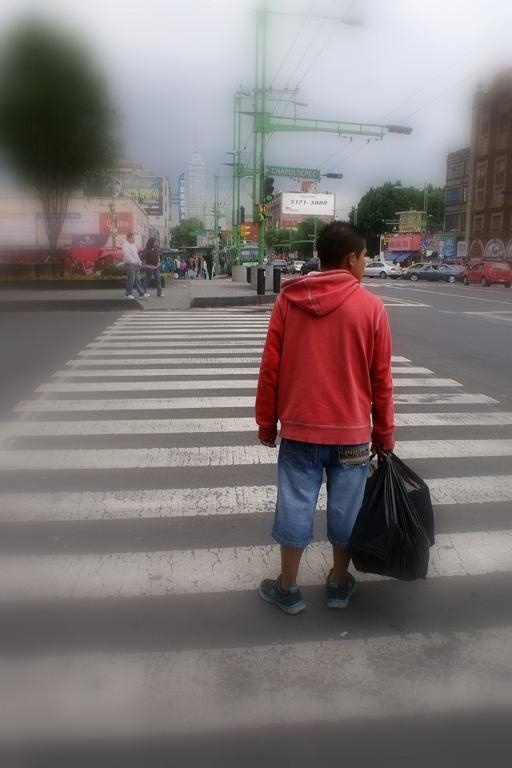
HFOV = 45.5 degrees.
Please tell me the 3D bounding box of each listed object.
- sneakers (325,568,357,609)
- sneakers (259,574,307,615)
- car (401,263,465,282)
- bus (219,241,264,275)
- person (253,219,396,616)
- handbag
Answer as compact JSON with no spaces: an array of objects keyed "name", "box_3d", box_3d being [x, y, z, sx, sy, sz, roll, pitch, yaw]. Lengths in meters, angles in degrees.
[{"name":"sneakers","box_3d":[0.350,0.856,2.567,0.067,0.086,0.190,-1,13,10]},{"name":"sneakers","box_3d":[0.108,0.845,2.562,0.087,0.118,0.237,-4,15,-24]},{"name":"car","box_3d":[13.814,-8.683,48.011,1.308,1.523,5.295,-6,10,-37]},{"name":"bus","box_3d":[-1.235,-11.849,59.173,3.263,4.211,12.809,-2,11,-8]},{"name":"person","box_3d":[0.253,0.252,2.383,0.538,1.362,0.268,2,7,13]},{"name":"handbag","box_3d":[0.533,0.523,2.376,0.249,0.471,0.333,-5,-10,33]}]
